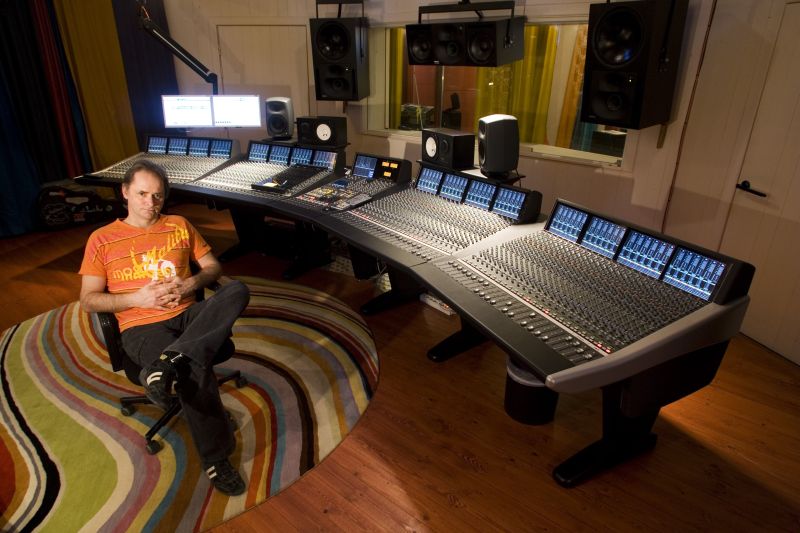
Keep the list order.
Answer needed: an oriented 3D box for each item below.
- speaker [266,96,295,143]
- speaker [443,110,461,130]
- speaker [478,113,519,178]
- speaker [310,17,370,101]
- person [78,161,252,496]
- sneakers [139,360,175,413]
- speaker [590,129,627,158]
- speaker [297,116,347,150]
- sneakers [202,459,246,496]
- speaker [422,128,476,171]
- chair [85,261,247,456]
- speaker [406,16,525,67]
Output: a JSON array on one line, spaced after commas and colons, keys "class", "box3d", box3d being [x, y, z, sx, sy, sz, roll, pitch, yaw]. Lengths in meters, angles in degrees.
[{"class": "speaker", "box3d": [-1.178, -1.448, 5.105, 0.255, 0.377, 0.209, -3, 26, -8]}, {"class": "speaker", "box3d": [0.607, -1.786, 6.385, 0.122, 0.230, 0.360, 21, 32, 35]}, {"class": "speaker", "box3d": [0.739, -0.925, 3.919, 0.309, 0.412, 0.286, -15, 25, -28]}, {"class": "speaker", "box3d": [-0.603, -2.066, 5.241, 0.541, 0.784, 0.503, 2, 26, 3]}, {"class": "person", "box3d": [-1.413, 0.334, 3.257, 0.818, 1.748, 1.307, -20, 32, -35]}, {"class": "sneakers", "box3d": [-1.360, 0.665, 2.963, 0.179, 0.263, 0.105, 12, 15, 27]}, {"class": "speaker", "box3d": [2.048, -1.216, 5.131, 0.264, 0.201, 0.558, 1, 25, 1]}, {"class": "speaker", "box3d": [-0.718, -1.268, 4.874, 0.535, 0.309, 0.311, 7, 34, 10]}, {"class": "sneakers", "box3d": [-1.056, 1.262, 3.176, 0.296, 0.113, 0.153, 25, 32, 32]}, {"class": "speaker", "box3d": [0.378, -0.939, 4.153, 0.281, 0.271, 0.424, -20, 32, -36]}, {"class": "chair", "box3d": [-1.472, 0.377, 3.444, 0.837, 1.337, 0.943, 4, 15, 36]}, {"class": "speaker", "box3d": [0.518, -1.920, 4.444, 0.988, 0.380, 0.390, 9, 27, 18]}]
